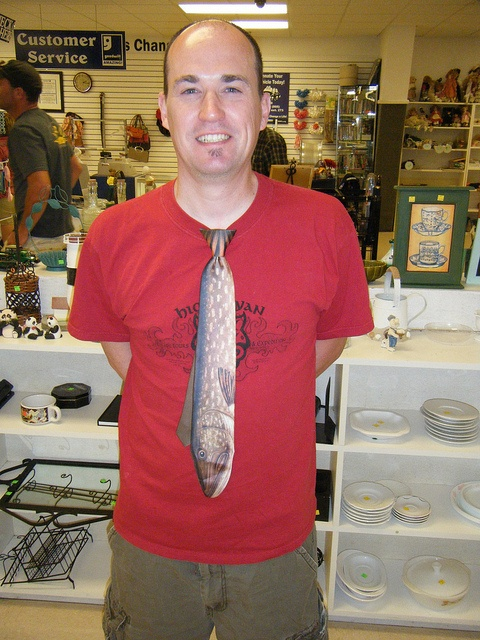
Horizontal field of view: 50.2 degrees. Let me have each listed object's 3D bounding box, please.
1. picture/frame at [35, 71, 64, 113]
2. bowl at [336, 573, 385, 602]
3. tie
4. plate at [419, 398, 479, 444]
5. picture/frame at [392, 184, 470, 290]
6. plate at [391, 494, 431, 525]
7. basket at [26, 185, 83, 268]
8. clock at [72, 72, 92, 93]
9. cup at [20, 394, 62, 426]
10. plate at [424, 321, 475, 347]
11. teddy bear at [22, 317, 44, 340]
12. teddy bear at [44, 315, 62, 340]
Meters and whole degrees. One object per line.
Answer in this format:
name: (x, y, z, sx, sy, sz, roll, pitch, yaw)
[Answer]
picture/frame: (-3.438, -4.149, 9.278, 0.674, 0.685, 0.063, 10, 16, 20)
bowl: (0.521, 1.203, 2.257, 0.106, 0.027, 0.109, 8, 8, -1)
tie: (-0.051, 0.073, 1.029, 0.146, 0.535, 0.062, 1, -4, 9)
plate: (0.869, 0.414, 2.136, 0.229, 0.110, 0.256, 12, 18, 34)
picture/frame: (0.834, -0.368, 2.267, 0.290, 0.433, 0.106, 6, 15, 19)
plate: (0.741, 0.820, 2.230, 0.152, 0.052, 0.213, 7, 16, 19)
basket: (-0.929, -0.434, 2.513, 0.251, 0.407, 0.256, -10, 6, -38)
clock: (-2.783, -4.239, 9.107, 0.305, 0.316, 0.072, 1, 13, 11)
cup: (-0.828, 0.377, 2.146, 0.147, 0.079, 0.112, 13, 9, 13)
plate: (0.870, 0.054, 2.150, 0.173, 0.049, 0.195, 3, 15, 6)
teddy bear: (-0.833, 0.038, 2.065, 0.059, 0.079, 0.063, -7, 14, 17)
teddy bear: (-0.761, 0.033, 2.063, 0.082, 0.115, 0.090, 0, -1, -24)
